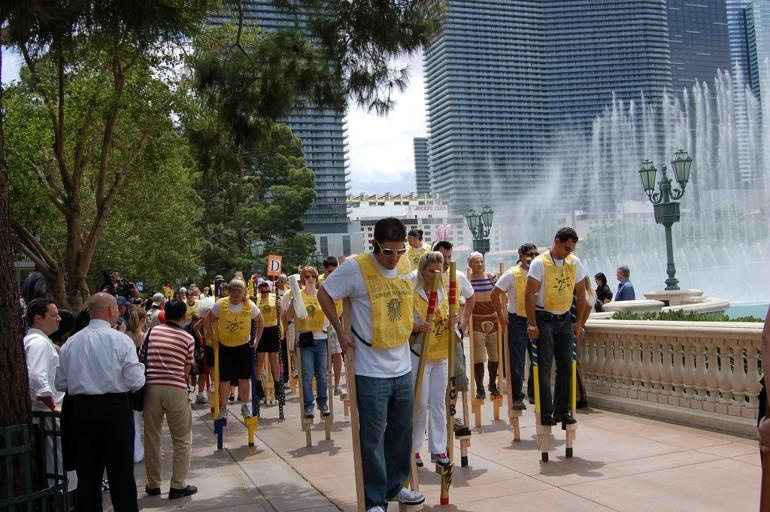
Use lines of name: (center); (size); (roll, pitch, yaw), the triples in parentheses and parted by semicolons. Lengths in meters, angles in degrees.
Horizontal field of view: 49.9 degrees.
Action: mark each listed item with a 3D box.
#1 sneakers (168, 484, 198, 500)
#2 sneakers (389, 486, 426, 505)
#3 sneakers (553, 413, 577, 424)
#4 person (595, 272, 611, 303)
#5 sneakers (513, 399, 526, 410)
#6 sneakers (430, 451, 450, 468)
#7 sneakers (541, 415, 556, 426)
sneakers: (-3.019, 3.516, 12.353); (0.442, 0.189, 0.168); (-3, 0, -22)
sneakers: (0.315, 3.208, 11.057); (0.394, 0.181, 0.212); (-1, -1, 11)
sneakers: (2.756, 2.542, 12.925); (0.159, 0.196, 0.472); (3, -8, -35)
person: (5.284, 0.748, 20.068); (0.350, 0.643, 1.459); (-2, 0, 15)
sneakers: (2.395, 2.675, 14.796); (0.248, 0.114, 0.334); (-1, -2, 4)
sneakers: (0.795, 2.893, 11.753); (0.175, 0.179, 0.392); (-2, 0, -15)
sneakers: (2.528, 2.527, 12.671); (0.120, 0.154, 0.340); (3, -14, -42)
